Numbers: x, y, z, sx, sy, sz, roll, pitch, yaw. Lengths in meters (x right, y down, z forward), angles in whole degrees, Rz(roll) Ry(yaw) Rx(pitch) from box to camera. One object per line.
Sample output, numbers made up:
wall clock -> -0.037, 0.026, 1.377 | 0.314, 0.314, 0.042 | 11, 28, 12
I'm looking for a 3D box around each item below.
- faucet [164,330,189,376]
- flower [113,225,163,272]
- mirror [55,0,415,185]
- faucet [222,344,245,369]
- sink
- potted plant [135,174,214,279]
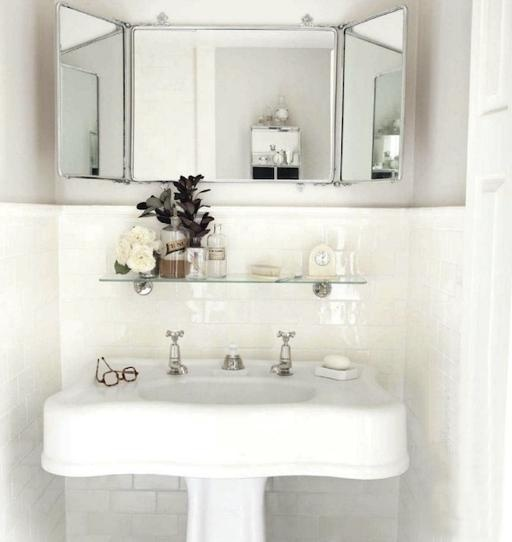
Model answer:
faucet -> -0.266, 0.276, 1.788 | 0.075, 0.142, 0.077 | -2, 1, 13
flower -> -0.357, -0.076, 1.799 | 0.135, 0.145, 0.192 | 3, 6, 39
mirror -> -0.086, -0.598, 1.814 | 1.147, 0.592, 0.135 | -1, 4, 2
faucet -> -0.072, 0.292, 1.843 | 0.074, 0.080, 0.078 | 0, -1, -19
sink -> -0.084, 0.444, 1.598 | 0.999, 0.202, 0.420 | -1, 5, 0
potted plant -> -0.289, -0.162, 1.850 | 0.240, 0.358, 0.207 | 0, -1, -5
